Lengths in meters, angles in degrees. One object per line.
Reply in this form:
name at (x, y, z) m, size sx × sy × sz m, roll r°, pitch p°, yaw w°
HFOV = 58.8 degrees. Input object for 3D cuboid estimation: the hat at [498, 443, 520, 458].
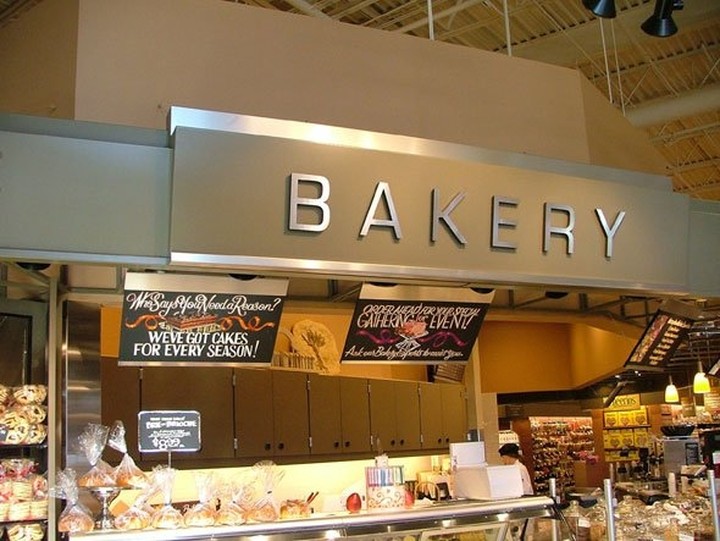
hat at (1.846, 2.202, 7.853) m, size 0.249 × 0.224 × 0.199 m, roll 12°, pitch -12°, yaw 3°

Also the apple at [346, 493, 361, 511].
apple at (-0.049, 1.496, 4.127) m, size 0.102 × 0.143 × 0.102 m, roll 7°, pitch -13°, yaw -8°
